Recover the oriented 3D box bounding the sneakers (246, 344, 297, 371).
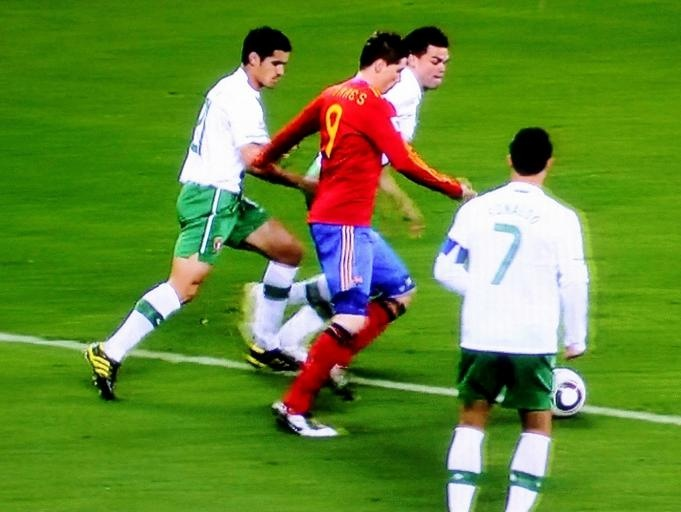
[{"bbox_3d":[-0.489,0.735,10.691,0.282,0.100,0.203,20,2,13],"label":"sneakers"}]

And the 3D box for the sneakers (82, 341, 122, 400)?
[{"bbox_3d":[-1.608,0.764,10.215,0.238,0.464,0.169,-11,16,13],"label":"sneakers"}]
